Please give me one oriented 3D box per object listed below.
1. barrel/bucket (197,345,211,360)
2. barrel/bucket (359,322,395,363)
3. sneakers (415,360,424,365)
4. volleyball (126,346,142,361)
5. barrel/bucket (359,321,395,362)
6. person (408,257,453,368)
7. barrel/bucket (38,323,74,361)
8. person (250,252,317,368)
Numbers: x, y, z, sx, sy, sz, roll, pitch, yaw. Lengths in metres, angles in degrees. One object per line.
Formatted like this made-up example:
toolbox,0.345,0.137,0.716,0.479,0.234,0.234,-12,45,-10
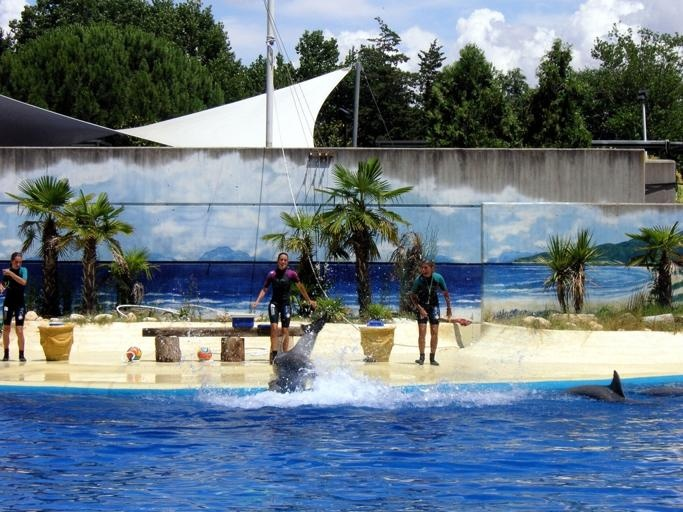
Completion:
barrel/bucket,-3.337,2.395,29.049,0.239,0.294,0.273,1,-5,-9
barrel/bucket,0.889,2.145,29.013,0.795,0.884,0.768,0,-9,0
sneakers,1.884,2.583,28.635,0.168,0.205,0.089,2,-4,33
volleyball,-5.029,2.392,28.676,0.255,0.267,0.298,3,-15,-21
barrel/bucket,0.901,2.201,29.170,0.798,0.890,0.769,0,-9,0
person,2.130,1.394,28.637,0.844,2.506,0.893,6,12,35
barrel/bucket,-6.876,1.939,28.884,0.816,1.088,0.949,4,26,-7
person,-1.364,1.284,28.354,1.347,2.867,0.856,-1,27,-6
